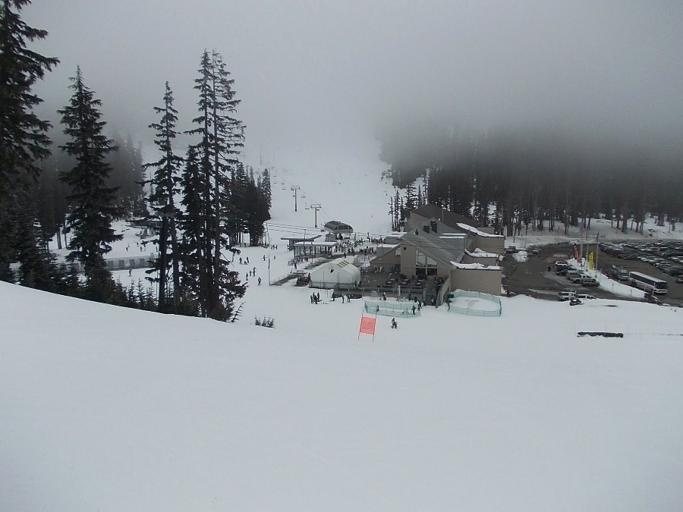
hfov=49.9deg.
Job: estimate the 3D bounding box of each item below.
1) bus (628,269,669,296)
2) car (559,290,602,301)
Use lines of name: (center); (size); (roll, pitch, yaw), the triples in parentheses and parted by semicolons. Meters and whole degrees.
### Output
bus: (26.722, 2.391, 64.208); (1.166, 1.440, 4.967); (-2, 6, 8)
car: (18.932, 3.262, 59.707); (2.067, 0.696, 1.416); (3, 1, 3)
